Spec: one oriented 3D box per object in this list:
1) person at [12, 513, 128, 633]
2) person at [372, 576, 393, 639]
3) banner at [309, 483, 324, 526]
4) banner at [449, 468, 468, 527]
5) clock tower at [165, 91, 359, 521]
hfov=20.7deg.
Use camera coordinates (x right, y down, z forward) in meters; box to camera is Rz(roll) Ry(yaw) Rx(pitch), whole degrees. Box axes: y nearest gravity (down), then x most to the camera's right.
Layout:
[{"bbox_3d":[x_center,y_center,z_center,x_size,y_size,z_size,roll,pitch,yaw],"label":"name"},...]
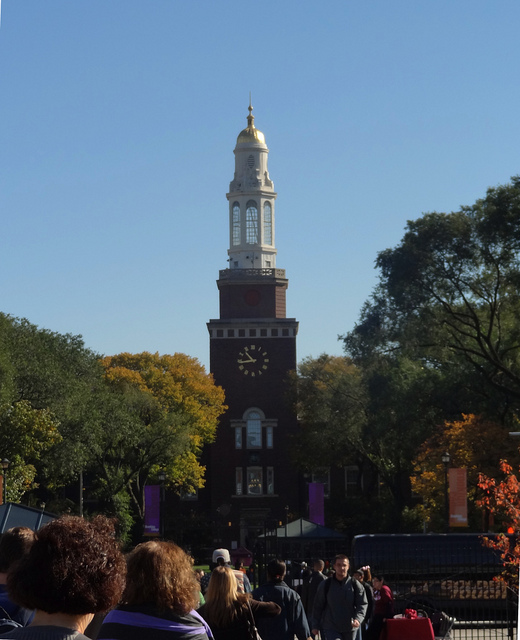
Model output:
[{"bbox_3d":[-1.626,2.233,12.502,0.925,1.251,0.947,6,-2,-14],"label":"person"},{"bbox_3d":[2.056,4.827,23.792,0.417,1.226,0.471,3,-26,5],"label":"person"},{"bbox_3d":[2.535,8.135,62.780,0.698,2.302,0.190,0,-39,1],"label":"banner"},{"bbox_3d":[5.678,5.064,40.771,0.517,1.731,0.094,0,8,6],"label":"banner"},{"bbox_3d":[-0.345,-0.982,80.906,7.655,24.884,5.868,0,-13,2],"label":"clock tower"}]
